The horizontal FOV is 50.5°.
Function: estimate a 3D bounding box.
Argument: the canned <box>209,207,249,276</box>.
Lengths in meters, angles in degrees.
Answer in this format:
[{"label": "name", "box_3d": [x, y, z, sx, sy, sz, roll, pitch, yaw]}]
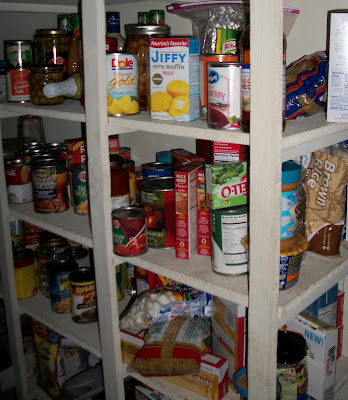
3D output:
[{"label": "canned", "box_3d": [0.116, 0.081, 0.745, 0.083, 0.123, 0.084, 1, 3, 39]}]
